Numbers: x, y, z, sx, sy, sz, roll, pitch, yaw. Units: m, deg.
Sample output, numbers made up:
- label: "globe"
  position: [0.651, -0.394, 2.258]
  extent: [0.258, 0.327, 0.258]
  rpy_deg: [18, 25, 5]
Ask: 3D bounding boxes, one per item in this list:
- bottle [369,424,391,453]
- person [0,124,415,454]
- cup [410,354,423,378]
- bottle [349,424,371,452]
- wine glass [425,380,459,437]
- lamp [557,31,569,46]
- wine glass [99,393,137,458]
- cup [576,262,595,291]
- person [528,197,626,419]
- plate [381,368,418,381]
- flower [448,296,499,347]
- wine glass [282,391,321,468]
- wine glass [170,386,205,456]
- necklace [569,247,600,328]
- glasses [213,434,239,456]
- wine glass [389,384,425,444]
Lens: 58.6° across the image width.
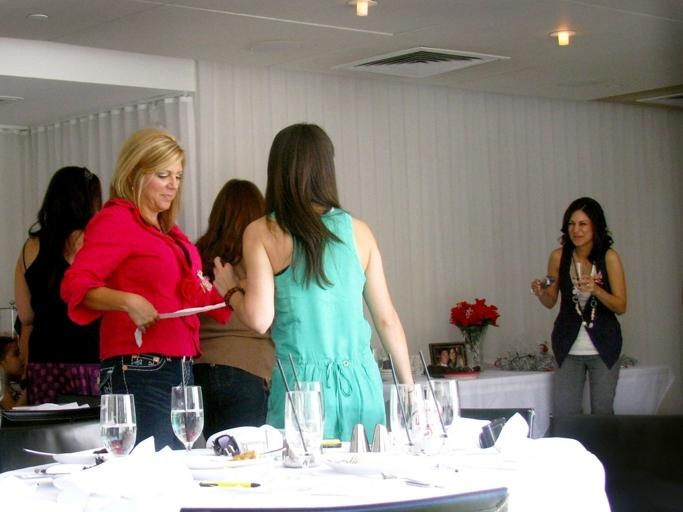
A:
- label: "bottle"
  position: [0.118, 0.548, 1.843]
  extent: [0.060, 0.107, 0.065]
  rpy_deg: [1, -6, 0]
- label: "person"
  position: [-0.296, 0.095, 2.073]
  extent: [1.033, 0.730, 0.405]
  rpy_deg: [-2, -1, 13]
- label: "cup"
  position: [0.580, 0.849, 4.702]
  extent: [0.101, 0.119, 0.117]
  rpy_deg: [-2, -14, -1]
- label: "bottle"
  position: [0.050, 0.534, 1.798]
  extent: [0.060, 0.092, 0.065]
  rpy_deg: [0, -7, 0]
- label: "wine glass"
  position: [0.292, 0.420, 1.747]
  extent: [0.089, 0.129, 0.194]
  rpy_deg: [-2, -1, 11]
- label: "lamp"
  position: [1.748, -1.720, 4.790]
  extent: [0.063, 0.081, 0.067]
  rpy_deg: [0, -5, -6]
- label: "wine glass"
  position: [-0.578, 0.435, 1.576]
  extent: [0.081, 0.161, 0.147]
  rpy_deg: [-1, -1, -22]
- label: "cup"
  position: [1.694, 0.147, 4.214]
  extent: [0.112, 0.194, 0.359]
  rpy_deg: [-2, -1, 24]
- label: "person"
  position: [1.686, 0.352, 4.296]
  extent: [0.601, 1.471, 0.553]
  rpy_deg: [-2, -1, 22]
- label: "plate"
  position: [0.374, 0.845, 4.308]
  extent: [0.184, 0.055, 0.213]
  rpy_deg: [1, 6, 19]
- label: "flower"
  position: [1.055, 0.537, 4.909]
  extent: [0.359, 0.399, 0.375]
  rpy_deg: [-1, 0, -2]
- label: "wine glass"
  position: [-0.091, 0.416, 1.492]
  extent: [0.098, 0.178, 0.099]
  rpy_deg: [8, -14, -40]
- label: "wine glass"
  position: [-0.436, 0.462, 1.711]
  extent: [0.084, 0.201, 0.118]
  rpy_deg: [-1, -1, -32]
- label: "necklace"
  position: [1.674, 0.229, 4.187]
  extent: [0.145, 0.562, 0.129]
  rpy_deg: [1, 24, 30]
- label: "glasses"
  position: [-0.326, 0.534, 1.709]
  extent: [0.042, 0.025, 0.062]
  rpy_deg: [-6, 44, -3]
- label: "wine glass"
  position: [0.185, 0.420, 1.685]
  extent: [0.106, 0.199, 0.115]
  rpy_deg: [-4, 18, -1]
